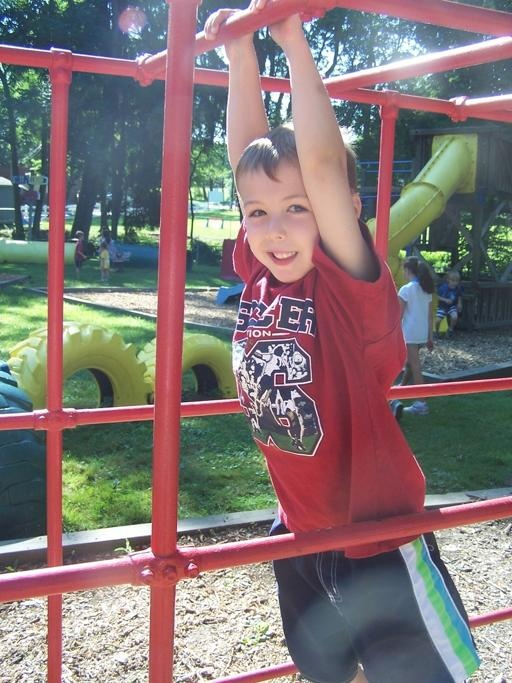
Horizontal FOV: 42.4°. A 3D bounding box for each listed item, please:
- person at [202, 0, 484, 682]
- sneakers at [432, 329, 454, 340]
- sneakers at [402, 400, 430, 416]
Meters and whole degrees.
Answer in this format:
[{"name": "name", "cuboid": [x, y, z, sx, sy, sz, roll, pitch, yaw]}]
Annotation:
[{"name": "person", "cuboid": [0.099, 0.047, 1.283, 0.457, 1.338, 0.608, -1, 4, -21]}, {"name": "sneakers", "cuboid": [2.800, -0.089, 9.832, 0.146, 0.171, 0.418, -1, -3, 1]}, {"name": "sneakers", "cuboid": [1.392, 0.581, 5.699, 0.223, 0.122, 0.107, 1, -8, 10]}]
